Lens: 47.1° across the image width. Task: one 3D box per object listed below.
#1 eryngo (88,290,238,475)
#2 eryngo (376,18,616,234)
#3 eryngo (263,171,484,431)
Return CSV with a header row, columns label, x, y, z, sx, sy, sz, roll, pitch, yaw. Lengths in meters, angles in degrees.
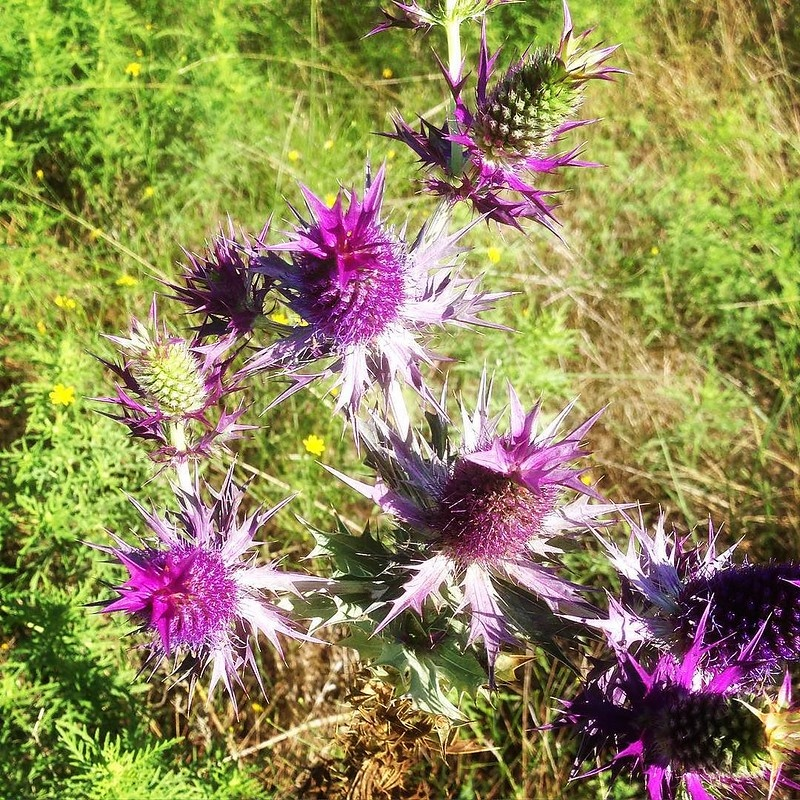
label,x,y,z,sx,sy,sz,roll,pitch,yaw
eryngo,-1.252,-0.047,4.891,0.648,0.782,0.542,12,26,33
eryngo,0.508,-1.316,4.462,0.877,1.139,0.654,10,42,4
eryngo,-0.167,-0.541,4.383,1.081,1.163,0.695,-10,45,-16
